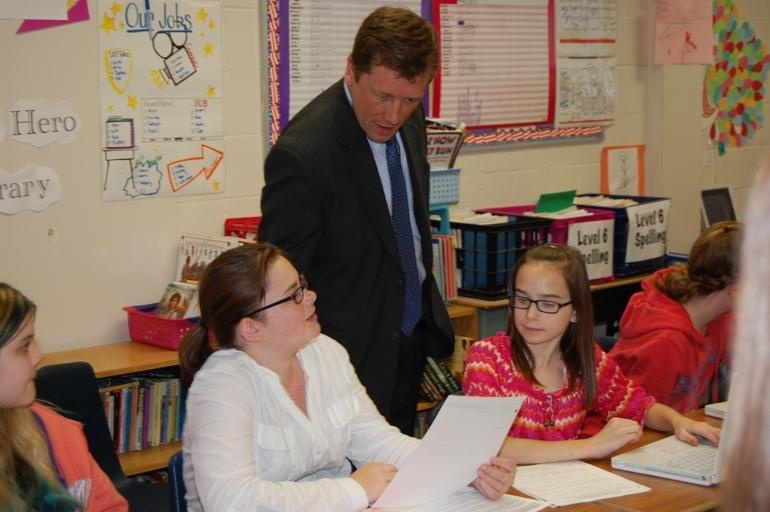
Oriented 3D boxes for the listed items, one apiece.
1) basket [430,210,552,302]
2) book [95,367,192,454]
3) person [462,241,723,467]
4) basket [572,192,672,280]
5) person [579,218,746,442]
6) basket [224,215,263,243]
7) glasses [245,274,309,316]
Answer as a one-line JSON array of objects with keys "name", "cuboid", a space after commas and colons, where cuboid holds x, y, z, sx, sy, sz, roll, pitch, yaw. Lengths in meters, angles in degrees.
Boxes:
[{"name": "basket", "cuboid": [0.604, -0.012, 3.279, 0.502, 0.342, 0.508, 3, 6, 42]}, {"name": "book", "cuboid": [-1.164, 0.716, 2.789, 0.425, 0.447, 0.329, -6, 8, -31]}, {"name": "person", "cuboid": [0.766, 0.372, 2.136, 0.633, 0.905, 0.319, -6, -2, -18]}, {"name": "basket", "cuboid": [1.516, -0.142, 3.743, 0.530, 0.489, 0.528, -5, 6, -41]}, {"name": "person", "cuboid": [1.063, 0.282, 2.244, 0.458, 0.868, 0.416, 11, 37, 13]}, {"name": "basket", "cuboid": [-0.750, -0.148, 3.056, 0.193, 0.099, 0.261, 1, 2, 7]}, {"name": "glasses", "cuboid": [-0.303, 0.127, 1.641, 0.120, 0.037, 0.117, -26, 5, -2]}]
